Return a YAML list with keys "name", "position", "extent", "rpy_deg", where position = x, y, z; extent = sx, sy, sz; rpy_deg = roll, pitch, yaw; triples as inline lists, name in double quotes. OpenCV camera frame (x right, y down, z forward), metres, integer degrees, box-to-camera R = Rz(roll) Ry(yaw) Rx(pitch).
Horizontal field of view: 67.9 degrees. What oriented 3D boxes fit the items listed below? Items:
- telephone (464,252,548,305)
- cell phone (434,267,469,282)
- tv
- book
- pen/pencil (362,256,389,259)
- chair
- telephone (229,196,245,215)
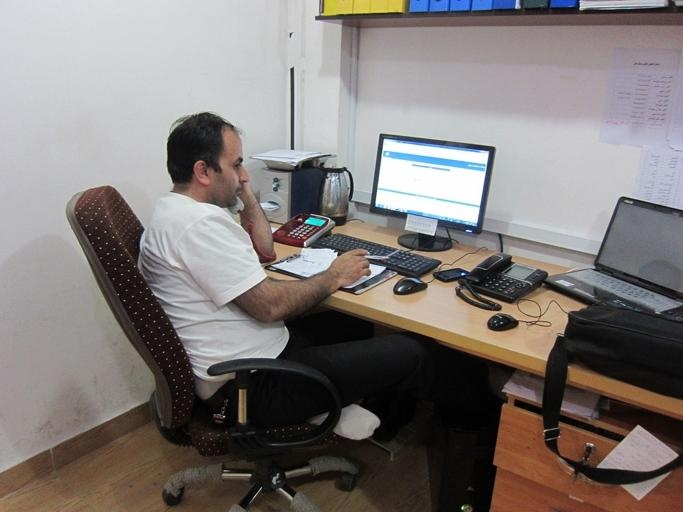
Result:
- name: "telephone"
  position: [0.628, 0.084, 1.900]
  extent: [0.210, 0.081, 0.219]
  rpy_deg: [-25, 30, -32]
- name: "cell phone"
  position: [0.433, 0.064, 1.985]
  extent: [0.104, 0.014, 0.059]
  rpy_deg: [-14, 24, -40]
- name: "tv"
  position: [0.424, -0.284, 2.284]
  extent: [0.472, 0.387, 0.211]
  rpy_deg: [18, 29, 34]
- name: "book"
  position: [-0.111, 0.055, 2.063]
  extent: [0.309, 0.030, 0.202]
  rpy_deg: [18, 33, 39]
- name: "pen/pencil"
  position: [0.141, 0.008, 2.095]
  extent: [0.111, 0.005, 0.029]
  rpy_deg: [2, 27, -2]
- name: "chair"
  position: [-0.297, 0.225, 2.287]
  extent: [1.282, 1.336, 0.965]
  rpy_deg: [-5, 18, -15]
- name: "telephone"
  position: [-0.421, -0.198, 2.074]
  extent: [0.034, 0.068, 0.089]
  rpy_deg: [3, 47, 6]
